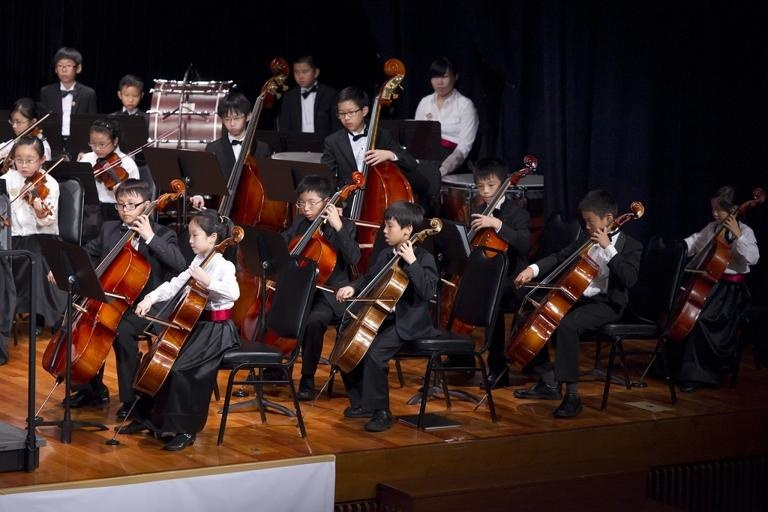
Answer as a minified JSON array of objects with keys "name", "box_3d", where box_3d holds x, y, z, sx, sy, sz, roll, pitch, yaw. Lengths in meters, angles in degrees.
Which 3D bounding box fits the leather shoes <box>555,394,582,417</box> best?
[{"name":"leather shoes","box_3d":[1.107,0.892,4.187,0.229,0.132,0.096,0,4,-33]}]

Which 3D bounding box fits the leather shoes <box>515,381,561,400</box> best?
[{"name":"leather shoes","box_3d":[0.991,0.876,4.540,0.291,0.127,0.115,3,-12,5]}]

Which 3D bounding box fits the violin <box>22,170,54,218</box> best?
[{"name":"violin","box_3d":[-2.387,-0.426,4.925,0.179,0.315,0.098,-29,-8,13]}]

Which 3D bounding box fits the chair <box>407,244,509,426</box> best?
[{"name":"chair","box_3d":[0.350,0.448,4.134,0.654,0.967,0.614,0,8,-35]}]

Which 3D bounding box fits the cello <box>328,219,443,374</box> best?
[{"name":"cello","box_3d":[-0.087,0.329,4.001,0.414,0.669,0.435,0,4,-30]}]

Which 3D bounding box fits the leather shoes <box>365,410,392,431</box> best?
[{"name":"leather shoes","box_3d":[-0.037,0.914,3.905,0.075,0.069,0.166,11,7,39]}]

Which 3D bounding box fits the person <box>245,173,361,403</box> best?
[{"name":"person","box_3d":[-0.469,0.106,4.505,0.465,1.486,0.677,29,-12,-38]}]

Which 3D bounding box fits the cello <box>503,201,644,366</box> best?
[{"name":"cello","box_3d":[1.167,0.160,4.450,0.777,1.008,0.628,3,4,5]}]

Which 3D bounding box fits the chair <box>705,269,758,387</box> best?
[{"name":"chair","box_3d":[2.340,0.502,4.797,0.212,0.685,0.365,7,-6,-17]}]
